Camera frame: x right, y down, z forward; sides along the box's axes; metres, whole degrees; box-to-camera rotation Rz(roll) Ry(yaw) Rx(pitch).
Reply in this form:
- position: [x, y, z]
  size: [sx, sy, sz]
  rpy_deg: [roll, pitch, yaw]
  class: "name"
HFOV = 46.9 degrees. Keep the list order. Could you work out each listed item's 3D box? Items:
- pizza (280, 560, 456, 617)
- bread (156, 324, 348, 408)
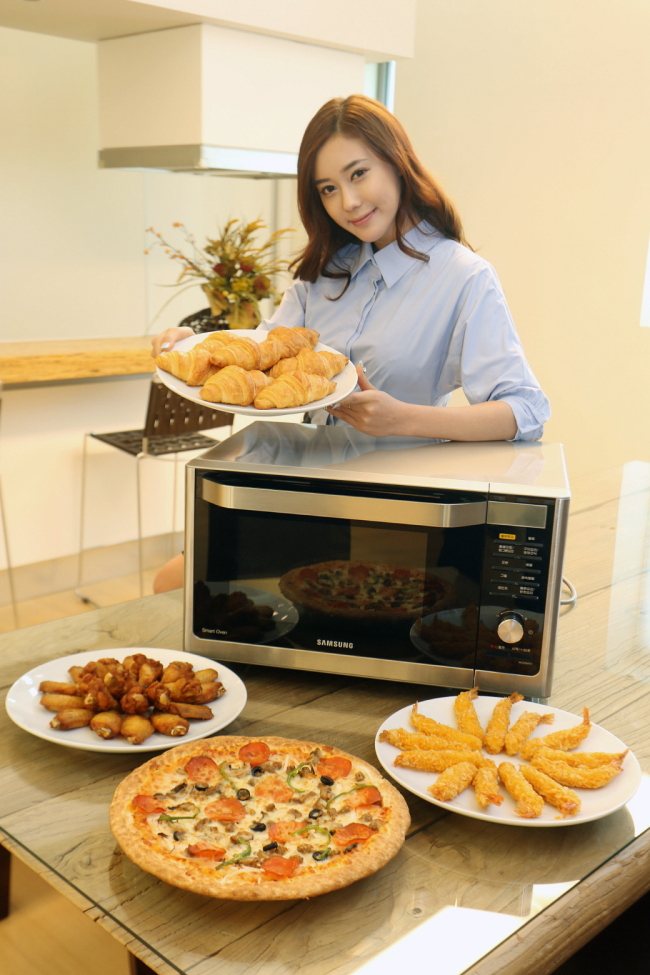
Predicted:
- position: [0.048, 0.113, 0.809]
  size: [0.111, 0.017, 0.080]
  rpy_deg: [6, 27, 6]
  class: "pizza"
- position: [-0.091, -0.161, 0.995]
  size: [0.242, 0.102, 0.321]
  rpy_deg: [3, 11, 1]
  class: "bread"
